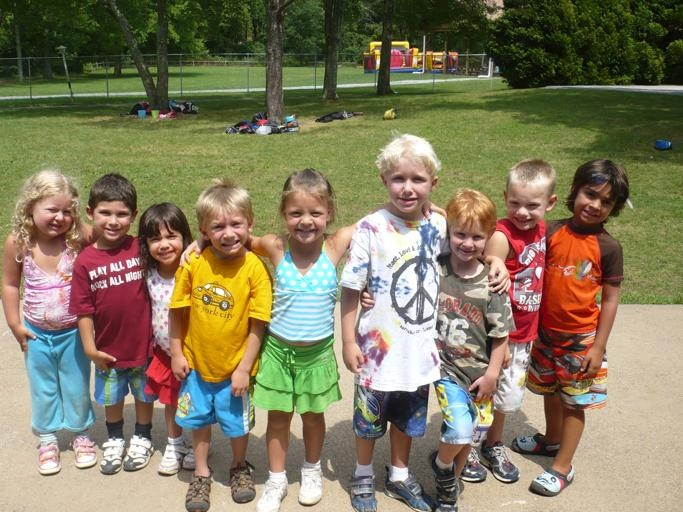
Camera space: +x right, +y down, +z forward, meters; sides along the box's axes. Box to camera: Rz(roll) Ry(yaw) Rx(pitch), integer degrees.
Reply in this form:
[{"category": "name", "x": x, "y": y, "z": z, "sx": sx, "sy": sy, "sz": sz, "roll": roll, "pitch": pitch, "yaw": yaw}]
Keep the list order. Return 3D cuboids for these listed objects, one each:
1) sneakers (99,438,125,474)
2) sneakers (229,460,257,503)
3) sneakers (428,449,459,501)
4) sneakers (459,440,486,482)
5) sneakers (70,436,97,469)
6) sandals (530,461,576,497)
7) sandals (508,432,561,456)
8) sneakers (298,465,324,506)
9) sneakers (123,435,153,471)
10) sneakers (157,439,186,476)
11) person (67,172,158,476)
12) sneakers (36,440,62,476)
[{"category": "sneakers", "x": -1.602, "y": 1.421, "z": 4.957, "sx": 0.103, "sy": 0.130, "sz": 0.286, "roll": 0, "pitch": 3, "yaw": -7}, {"category": "sneakers", "x": -0.662, "y": 1.534, "z": 4.791, "sx": 0.127, "sy": 0.127, "sz": 0.275, "roll": -4, "pitch": 10, "yaw": -10}, {"category": "sneakers", "x": 0.669, "y": 1.463, "z": 4.642, "sx": 0.124, "sy": 0.379, "sz": 0.168, "roll": -3, "pitch": -2, "yaw": -2}, {"category": "sneakers", "x": 0.918, "y": 1.475, "z": 4.911, "sx": 0.121, "sy": 0.204, "sz": 0.344, "roll": 2, "pitch": -7, "yaw": -12}, {"category": "sneakers", "x": -1.813, "y": 1.396, "z": 5.003, "sx": 0.110, "sy": 0.117, "sz": 0.285, "roll": -3, "pitch": 7, "yaw": -23}, {"category": "sandals", "x": 1.462, "y": 1.532, "z": 4.856, "sx": 0.322, "sy": 0.119, "sz": 0.126, "roll": -8, "pitch": 8, "yaw": -38}, {"category": "sandals", "x": 1.421, "y": 1.390, "z": 5.153, "sx": 0.316, "sy": 0.128, "sz": 0.136, "roll": 5, "pitch": 13, "yaw": 4}, {"category": "sneakers", "x": -0.206, "y": 1.535, "z": 4.722, "sx": 0.114, "sy": 0.119, "sz": 0.295, "roll": 1, "pitch": 30, "yaw": -2}, {"category": "sneakers", "x": -1.439, "y": 1.403, "z": 4.985, "sx": 0.113, "sy": 0.132, "sz": 0.288, "roll": 3, "pitch": 1, "yaw": -5}, {"category": "sneakers", "x": -1.187, "y": 1.413, "z": 4.952, "sx": 0.112, "sy": 0.148, "sz": 0.320, "roll": 3, "pitch": 10, "yaw": 4}, {"category": "person", "x": -1.587, "y": 0.476, "z": 4.919, "sx": 0.514, "sy": 2.037, "sz": 0.467, "roll": -7, "pitch": 13, "yaw": -21}, {"category": "sneakers", "x": -2.045, "y": 1.422, "z": 4.931, "sx": 0.107, "sy": 0.118, "sz": 0.296, "roll": 0, "pitch": -2, "yaw": -16}]
